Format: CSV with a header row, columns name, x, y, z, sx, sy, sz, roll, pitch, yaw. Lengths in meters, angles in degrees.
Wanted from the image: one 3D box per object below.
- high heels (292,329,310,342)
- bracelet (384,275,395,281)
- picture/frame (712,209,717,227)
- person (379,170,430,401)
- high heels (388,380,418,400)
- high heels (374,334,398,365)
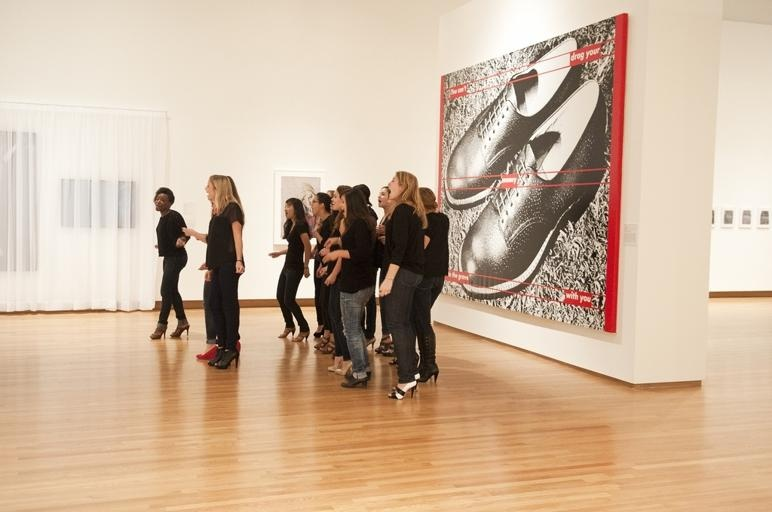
name,x,y,z,sx,sy,sz,roll,pitch,yaw
high heels,-1.323,1.220,8.168,0.262,0.195,0.132,4,3,-14
bracelet,0.037,0.215,5.347,0.094,0.066,0.099,1,5,-4
picture/frame,8.247,-0.990,13.299,0.079,0.361,0.037,-1,5,-21
person,0.176,0.309,5.582,0.449,2.388,0.593,1,5,4
high heels,0.180,1.427,5.608,0.261,0.152,0.159,-3,7,-13
high heels,0.003,1.279,7.315,0.192,0.243,0.577,0,-3,-8
